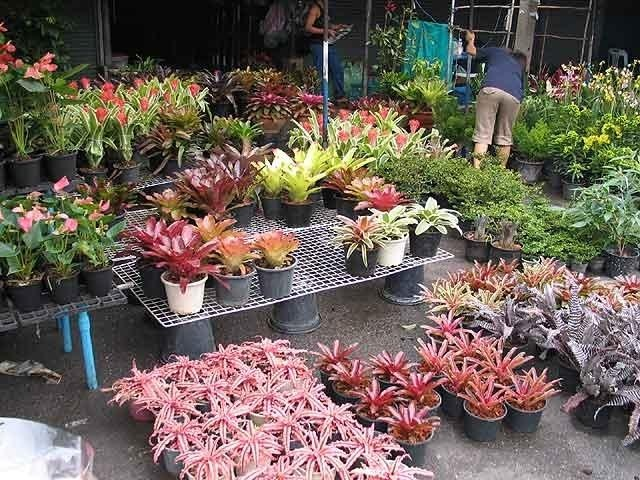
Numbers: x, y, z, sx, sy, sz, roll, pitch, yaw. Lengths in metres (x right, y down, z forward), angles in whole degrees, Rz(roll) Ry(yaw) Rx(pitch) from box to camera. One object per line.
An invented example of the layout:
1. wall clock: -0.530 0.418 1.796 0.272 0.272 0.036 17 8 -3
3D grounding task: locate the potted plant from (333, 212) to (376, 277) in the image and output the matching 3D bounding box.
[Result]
1. potted plant: 0.246 -0.004 3.460 0.405 0.409 0.406 -2 23 -6

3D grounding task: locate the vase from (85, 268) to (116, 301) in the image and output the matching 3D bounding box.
1. vase: -1.349 0.254 2.916 0.174 0.139 0.176 5 27 8

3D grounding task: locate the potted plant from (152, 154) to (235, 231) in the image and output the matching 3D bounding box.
1. potted plant: -0.856 -0.364 3.485 0.618 0.358 0.676 11 21 24

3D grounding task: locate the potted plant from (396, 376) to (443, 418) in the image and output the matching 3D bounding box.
1. potted plant: 0.583 0.885 2.685 0.289 0.125 0.252 9 37 11

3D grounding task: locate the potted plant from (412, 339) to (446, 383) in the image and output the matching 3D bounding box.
1. potted plant: 0.733 0.796 3.003 0.238 0.149 0.240 -4 39 14

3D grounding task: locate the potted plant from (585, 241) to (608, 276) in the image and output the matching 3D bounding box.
1. potted plant: 2.677 0.187 4.505 0.225 0.178 0.233 0 23 5

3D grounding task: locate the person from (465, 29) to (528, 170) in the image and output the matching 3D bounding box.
1. person: 2.314 -1.880 6.318 0.815 2.106 0.655 11 -6 -6

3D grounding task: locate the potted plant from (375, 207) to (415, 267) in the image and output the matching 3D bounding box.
1. potted plant: 0.565 -0.028 3.544 0.297 0.311 0.325 17 32 24

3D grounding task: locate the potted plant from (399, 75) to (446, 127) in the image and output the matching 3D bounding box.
1. potted plant: 1.736 -2.221 7.406 0.549 0.588 0.575 6 13 5

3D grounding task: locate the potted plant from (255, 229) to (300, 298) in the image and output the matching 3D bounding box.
1. potted plant: -0.286 0.142 3.090 0.295 0.424 0.283 -3 20 -11

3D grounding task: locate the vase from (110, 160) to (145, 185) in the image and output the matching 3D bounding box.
1. vase: -1.797 -0.642 4.366 0.354 0.238 0.352 -1 11 -10

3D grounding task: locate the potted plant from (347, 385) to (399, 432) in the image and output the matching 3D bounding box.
1. potted plant: 0.295 0.914 2.567 0.254 0.265 0.266 7 31 5

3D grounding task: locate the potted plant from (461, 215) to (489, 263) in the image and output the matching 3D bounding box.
1. potted plant: 1.589 -0.040 4.625 0.269 0.470 0.301 14 23 31

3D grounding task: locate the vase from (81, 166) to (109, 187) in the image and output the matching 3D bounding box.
1. vase: -1.929 -0.547 3.937 0.211 0.156 0.212 0 20 -5

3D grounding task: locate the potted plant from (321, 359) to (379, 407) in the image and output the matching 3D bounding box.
1. potted plant: 0.164 0.831 2.731 0.255 0.100 0.242 -18 40 -15

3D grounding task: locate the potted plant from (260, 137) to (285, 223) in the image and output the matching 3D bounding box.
1. potted plant: -0.420 -0.448 3.938 0.200 0.505 0.235 -1 19 -6

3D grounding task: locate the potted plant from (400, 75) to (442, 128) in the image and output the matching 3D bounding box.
1. potted plant: 1.649 -2.225 7.417 0.781 0.786 0.603 7 20 15

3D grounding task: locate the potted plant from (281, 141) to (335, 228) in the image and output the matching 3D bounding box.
1. potted plant: -0.113 -0.494 3.990 0.492 0.630 0.597 2 19 1

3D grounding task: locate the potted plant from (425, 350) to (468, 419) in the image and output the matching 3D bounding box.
1. potted plant: 0.766 0.887 2.790 0.254 0.327 0.260 -15 31 -26

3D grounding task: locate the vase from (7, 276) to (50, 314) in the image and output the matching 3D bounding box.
1. vase: -1.695 0.326 2.748 0.197 0.152 0.188 1 22 3

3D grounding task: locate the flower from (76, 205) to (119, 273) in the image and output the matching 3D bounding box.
1. flower: -1.426 -0.021 2.969 0.324 0.310 0.348 -5 50 -20

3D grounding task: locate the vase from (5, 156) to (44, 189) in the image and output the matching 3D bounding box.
1. vase: -2.119 -0.490 3.349 0.239 0.178 0.231 -3 21 -15

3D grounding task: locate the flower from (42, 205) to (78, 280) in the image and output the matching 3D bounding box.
1. flower: -1.562 0.023 2.771 0.278 0.392 0.249 2 44 -21

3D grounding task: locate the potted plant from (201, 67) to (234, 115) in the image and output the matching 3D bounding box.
1. potted plant: -1.305 -1.953 6.090 0.394 0.556 0.737 -8 21 -24

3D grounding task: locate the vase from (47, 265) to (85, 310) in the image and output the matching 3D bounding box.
1. vase: -1.556 0.278 2.813 0.172 0.175 0.168 -10 22 -29

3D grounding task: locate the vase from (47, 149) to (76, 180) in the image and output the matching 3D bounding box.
1. vase: -1.980 -0.581 3.601 0.217 0.166 0.218 -2 32 -12
